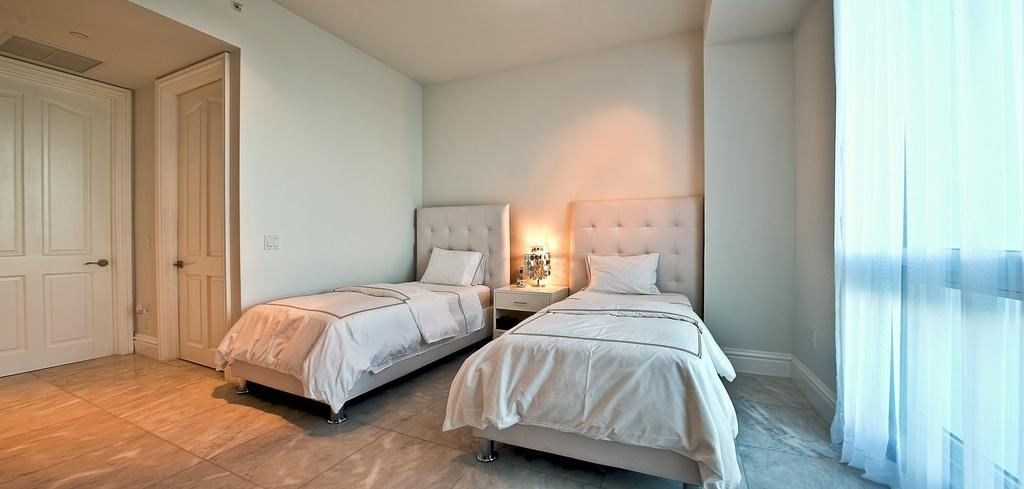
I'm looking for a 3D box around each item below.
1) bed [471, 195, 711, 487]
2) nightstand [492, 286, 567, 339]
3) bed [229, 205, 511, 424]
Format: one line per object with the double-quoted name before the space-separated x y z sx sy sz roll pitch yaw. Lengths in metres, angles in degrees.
"bed" 0.839 0.936 6.559 2.786 2.982 2.473 -1 5 17
"nightstand" 0.308 0.966 7.798 1.114 0.812 0.800 -1 -5 23
"bed" -1.747 0.500 7.751 2.319 2.108 3.823 5 7 35
